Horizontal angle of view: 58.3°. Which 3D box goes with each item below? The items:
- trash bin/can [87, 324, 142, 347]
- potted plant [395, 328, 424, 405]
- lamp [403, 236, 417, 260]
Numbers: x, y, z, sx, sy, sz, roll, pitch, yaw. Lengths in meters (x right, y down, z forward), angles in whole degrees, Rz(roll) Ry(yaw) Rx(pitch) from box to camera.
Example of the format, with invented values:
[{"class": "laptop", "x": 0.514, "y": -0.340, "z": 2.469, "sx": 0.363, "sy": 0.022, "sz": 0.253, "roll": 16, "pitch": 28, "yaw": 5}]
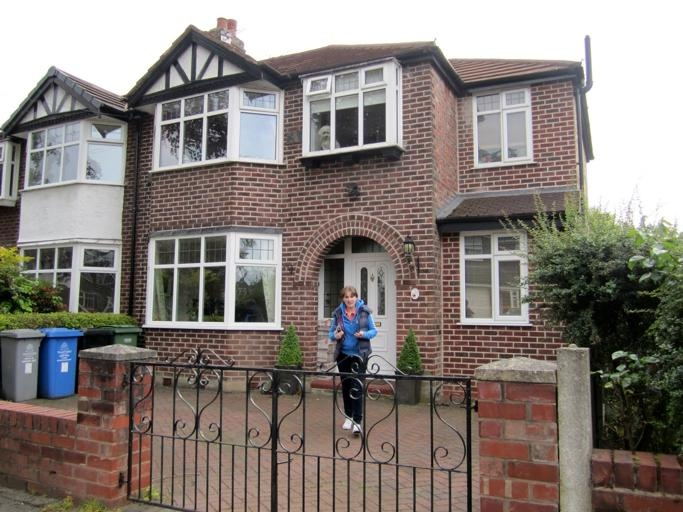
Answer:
[{"class": "trash bin/can", "x": -4.842, "y": 1.682, "z": 12.984, "sx": 0.604, "sy": 0.619, "sz": 0.975, "roll": -1, "pitch": -7, "yaw": 18}, {"class": "potted plant", "x": 1.325, "y": 2.120, "z": 11.810, "sx": 0.500, "sy": 1.426, "sz": 0.848, "roll": 0, "pitch": -7, "yaw": 7}, {"class": "lamp", "x": 1.370, "y": -0.149, "z": 12.321, "sx": 0.242, "sy": 0.461, "sz": 0.256, "roll": 0, "pitch": -7, "yaw": 6}]
